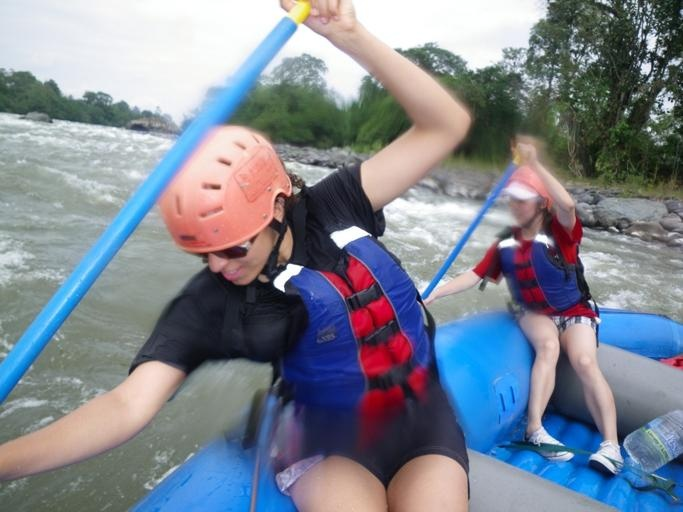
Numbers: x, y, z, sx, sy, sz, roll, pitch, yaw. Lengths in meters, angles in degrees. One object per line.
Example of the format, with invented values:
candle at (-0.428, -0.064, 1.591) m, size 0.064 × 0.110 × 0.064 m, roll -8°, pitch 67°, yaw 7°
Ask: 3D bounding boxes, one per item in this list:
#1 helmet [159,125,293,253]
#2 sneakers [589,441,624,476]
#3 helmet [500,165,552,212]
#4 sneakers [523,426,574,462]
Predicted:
helmet at (-0.368, -0.209, 1.732) m, size 0.325 × 0.266 × 0.452 m, roll 21°, pitch 56°, yaw 34°
sneakers at (1.345, 1.016, 2.479) m, size 0.084 × 0.117 × 0.254 m, roll -6°, pitch -31°, yaw 36°
helmet at (1.119, -0.429, 2.951) m, size 0.282 × 0.180 × 0.195 m, roll 22°, pitch -20°, yaw -37°
sneakers at (1.092, 0.991, 2.630) m, size 0.102 × 0.127 × 0.254 m, roll -41°, pitch 37°, yaw -25°
